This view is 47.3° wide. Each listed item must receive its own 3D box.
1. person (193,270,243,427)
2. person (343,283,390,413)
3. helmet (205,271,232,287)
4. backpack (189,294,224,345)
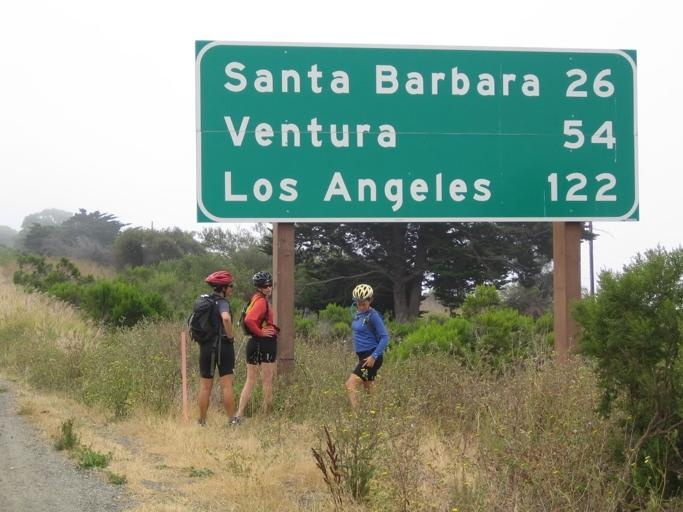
[{"bbox_3d":[-1.996,1.455,12.461,0.801,2.450,0.455,2,-6,13],"label":"person"},{"bbox_3d":[0.411,1.383,12.264,0.591,1.883,0.830,5,-6,-6],"label":"person"},{"bbox_3d":[-1.940,0.372,12.569,0.235,0.176,0.338,5,5,44],"label":"helmet"},{"bbox_3d":[-2.179,1.005,12.612,0.362,0.838,0.558,5,1,-11],"label":"backpack"}]
